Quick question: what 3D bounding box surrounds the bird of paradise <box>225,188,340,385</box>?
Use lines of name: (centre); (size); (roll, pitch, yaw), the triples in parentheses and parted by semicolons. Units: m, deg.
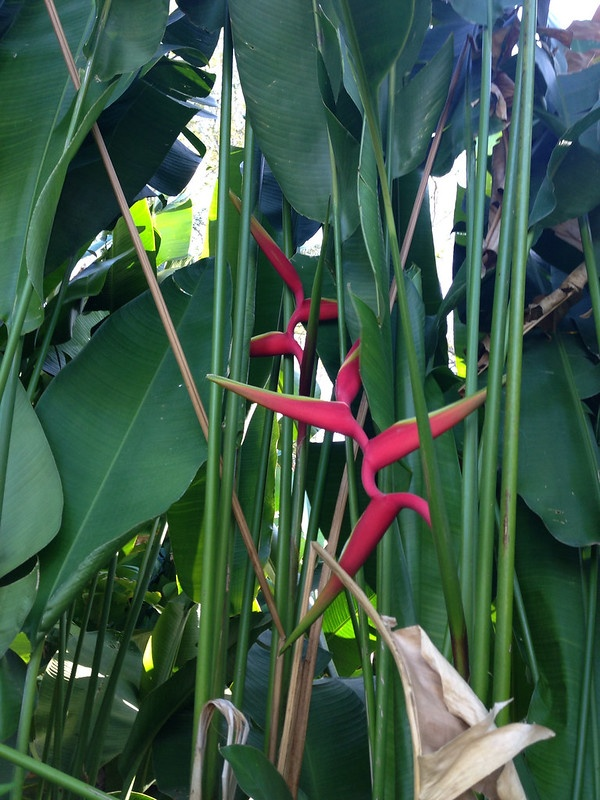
bird of paradise: (-0.021, -0.115, 0.841); (0.029, 0.122, 0.228); (27, 32, -41)

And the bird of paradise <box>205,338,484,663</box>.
bird of paradise: (0.046, 0.070, 0.626); (0.172, 0.215, 0.182); (6, 7, 26)
